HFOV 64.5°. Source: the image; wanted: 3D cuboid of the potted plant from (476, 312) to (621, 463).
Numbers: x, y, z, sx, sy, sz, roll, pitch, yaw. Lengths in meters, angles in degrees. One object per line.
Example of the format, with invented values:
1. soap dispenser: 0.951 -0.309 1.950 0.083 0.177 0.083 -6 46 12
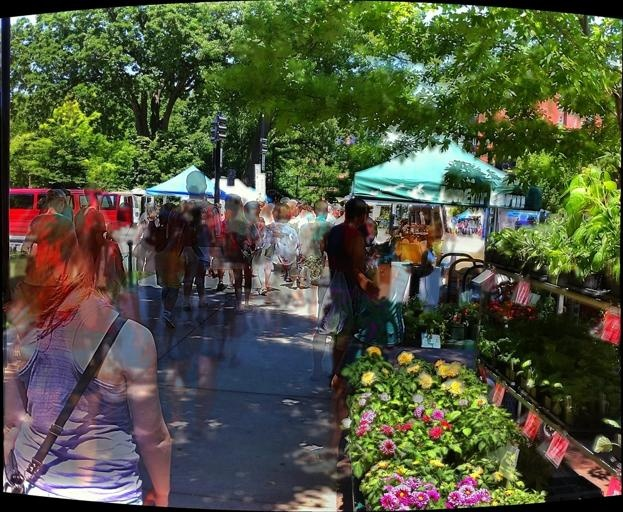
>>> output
1. potted plant: 1.295 0.595 2.582 0.350 0.156 0.519 20 13 -19

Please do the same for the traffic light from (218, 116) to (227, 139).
1. traffic light: -0.908 -1.309 5.035 0.089 0.194 0.259 -1 6 -10

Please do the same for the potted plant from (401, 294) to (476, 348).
1. potted plant: 1.450 0.747 5.548 0.627 0.305 0.662 1 5 2

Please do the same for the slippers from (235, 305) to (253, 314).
1. slippers: -1.028 0.834 7.661 0.117 0.151 0.367 -4 -12 6

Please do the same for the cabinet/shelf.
1. cabinet/shelf: 1.264 0.643 2.603 0.204 0.656 1.226 10 1 -1

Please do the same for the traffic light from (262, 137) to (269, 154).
1. traffic light: -0.511 -1.213 5.388 0.060 0.191 0.189 0 1 -12

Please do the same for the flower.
1. flower: 0.624 0.861 2.530 0.869 0.532 0.985 -1 6 -4
